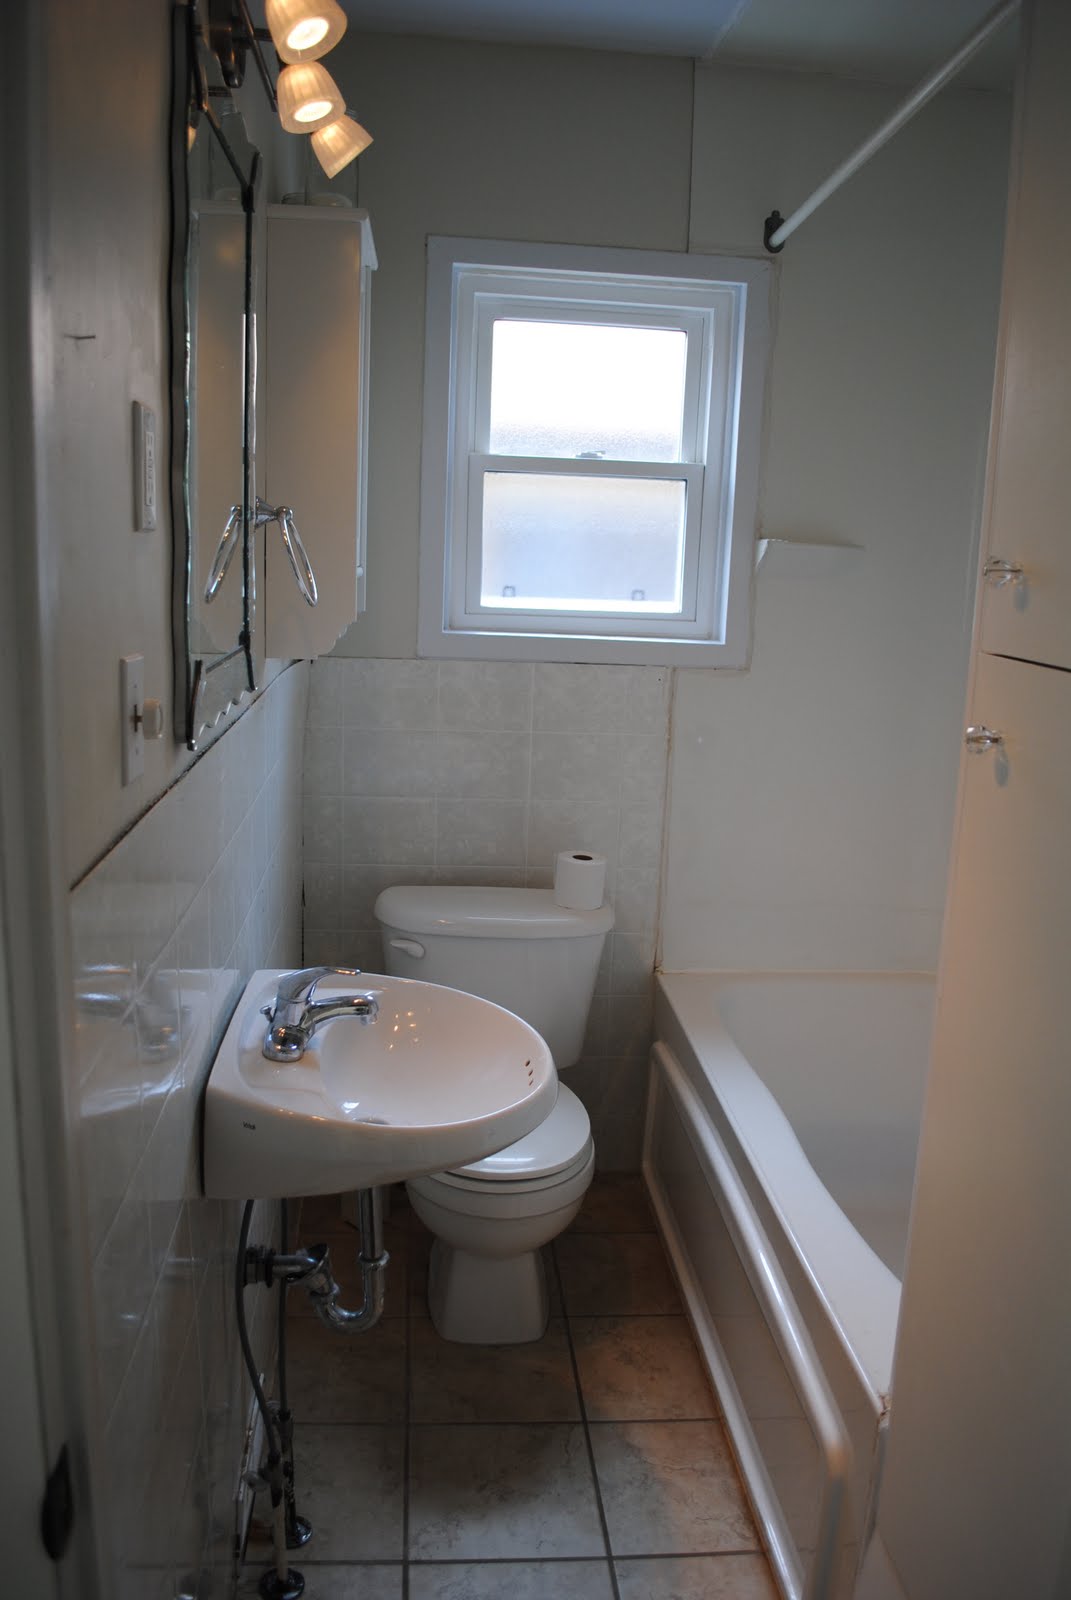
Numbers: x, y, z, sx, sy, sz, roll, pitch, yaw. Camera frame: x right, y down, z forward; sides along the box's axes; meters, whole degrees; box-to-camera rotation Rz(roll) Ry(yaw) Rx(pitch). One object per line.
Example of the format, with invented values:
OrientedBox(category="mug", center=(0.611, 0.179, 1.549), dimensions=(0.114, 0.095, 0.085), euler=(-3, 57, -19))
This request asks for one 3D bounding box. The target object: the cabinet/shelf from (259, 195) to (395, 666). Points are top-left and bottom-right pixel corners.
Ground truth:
OrientedBox(category="cabinet/shelf", center=(-0.305, -0.566, 1.674), dimensions=(0.131, 0.624, 0.626), euler=(-1, 38, -6))

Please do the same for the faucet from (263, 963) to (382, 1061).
OrientedBox(category="faucet", center=(-0.259, 0.246, 1.322), dimensions=(0.077, 0.067, 0.103), euler=(6, 10, 7))

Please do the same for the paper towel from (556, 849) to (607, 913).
OrientedBox(category="paper towel", center=(0.103, 0.174, 2.377), dimensions=(0.078, 0.112, 0.101), euler=(3, 23, -10))

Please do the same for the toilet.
OrientedBox(category="toilet", center=(-0.037, 0.535, 2.262), dimensions=(0.371, 0.987, 0.736), euler=(0, 12, -4))
